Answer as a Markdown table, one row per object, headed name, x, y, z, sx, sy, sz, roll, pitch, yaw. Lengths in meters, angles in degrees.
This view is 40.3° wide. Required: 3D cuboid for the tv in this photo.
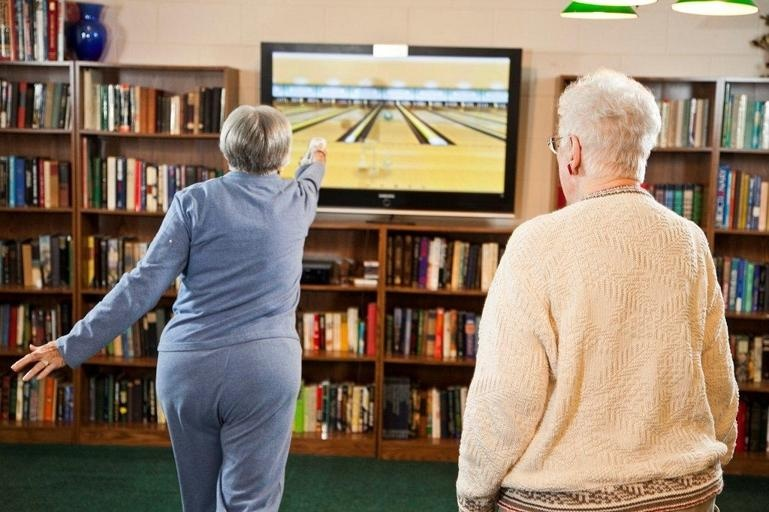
| name | x | y | z | sx | sy | sz | roll | pitch | yaw |
| --- | --- | --- | --- | --- | --- | --- | --- | --- | --- |
| tv | 0.065 | -0.850 | 6.863 | 1.480 | 0.932 | 0.054 | 1 | 9 | 2 |
